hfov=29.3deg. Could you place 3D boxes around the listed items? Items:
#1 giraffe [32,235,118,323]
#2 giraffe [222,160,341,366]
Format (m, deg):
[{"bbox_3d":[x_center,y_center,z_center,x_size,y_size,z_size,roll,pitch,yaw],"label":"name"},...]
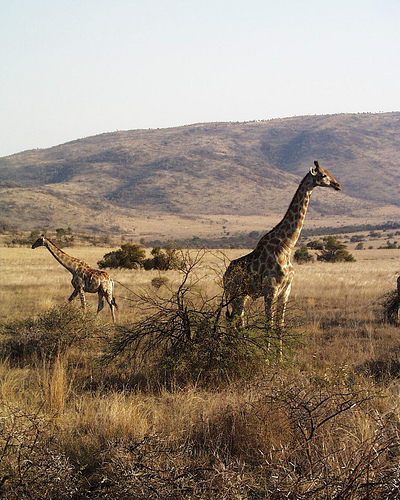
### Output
[{"bbox_3d":[-2.524,0.548,16.438,1.315,1.505,2.622,3,-1,-27],"label":"giraffe"},{"bbox_3d":[1.119,-0.034,11.269,1.523,2.075,3.169,2,-1,11],"label":"giraffe"}]
